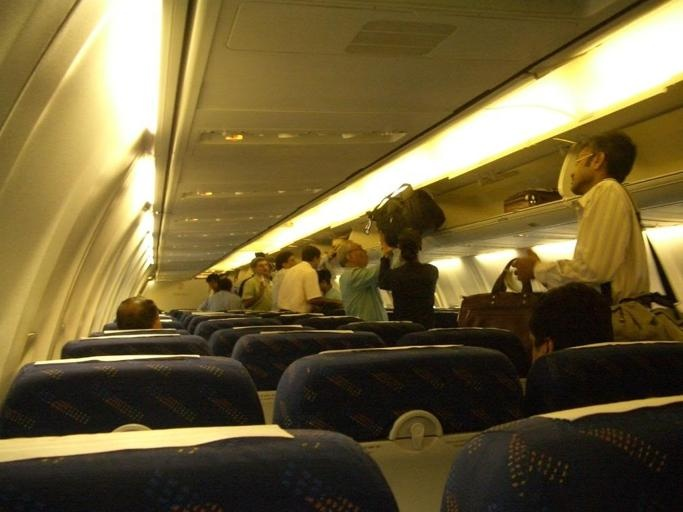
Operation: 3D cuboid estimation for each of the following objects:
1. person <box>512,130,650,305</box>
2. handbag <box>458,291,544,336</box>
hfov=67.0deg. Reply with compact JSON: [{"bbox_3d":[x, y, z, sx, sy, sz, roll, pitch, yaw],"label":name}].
[{"bbox_3d":[1.512,-0.249,3.272,0.710,1.119,0.467,-5,-10,23],"label":"person"},{"bbox_3d":[1.184,0.432,3.744,0.608,0.389,0.233,-8,-14,35],"label":"handbag"}]
